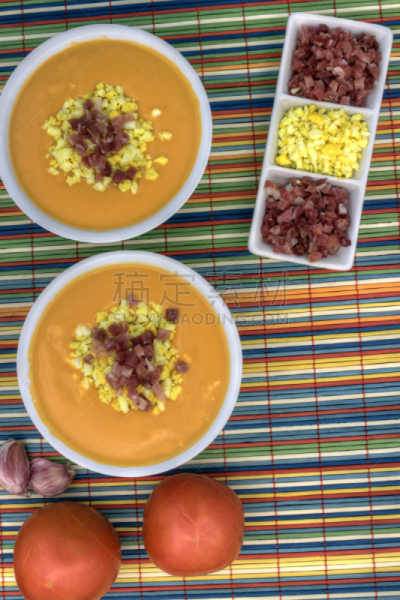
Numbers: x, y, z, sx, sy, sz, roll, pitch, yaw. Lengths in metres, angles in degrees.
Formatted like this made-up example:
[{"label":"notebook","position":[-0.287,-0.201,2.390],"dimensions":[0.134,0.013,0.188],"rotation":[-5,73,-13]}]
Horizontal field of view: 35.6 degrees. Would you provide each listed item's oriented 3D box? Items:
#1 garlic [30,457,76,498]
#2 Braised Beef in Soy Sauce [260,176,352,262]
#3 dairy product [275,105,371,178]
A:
[{"label":"garlic","position":[-0.450,0.534,1.865],"dimensions":[0.156,0.073,0.123],"rotation":[-1,51,-31]},{"label":"Braised Beef in Soy Sauce","position":[0.310,-0.223,1.824],"dimensions":[0.274,0.113,0.237],"rotation":[1,91,1]},{"label":"dairy product","position":[0.343,-0.436,1.834],"dimensions":[0.326,0.110,0.200],"rotation":[9,95,7]}]
